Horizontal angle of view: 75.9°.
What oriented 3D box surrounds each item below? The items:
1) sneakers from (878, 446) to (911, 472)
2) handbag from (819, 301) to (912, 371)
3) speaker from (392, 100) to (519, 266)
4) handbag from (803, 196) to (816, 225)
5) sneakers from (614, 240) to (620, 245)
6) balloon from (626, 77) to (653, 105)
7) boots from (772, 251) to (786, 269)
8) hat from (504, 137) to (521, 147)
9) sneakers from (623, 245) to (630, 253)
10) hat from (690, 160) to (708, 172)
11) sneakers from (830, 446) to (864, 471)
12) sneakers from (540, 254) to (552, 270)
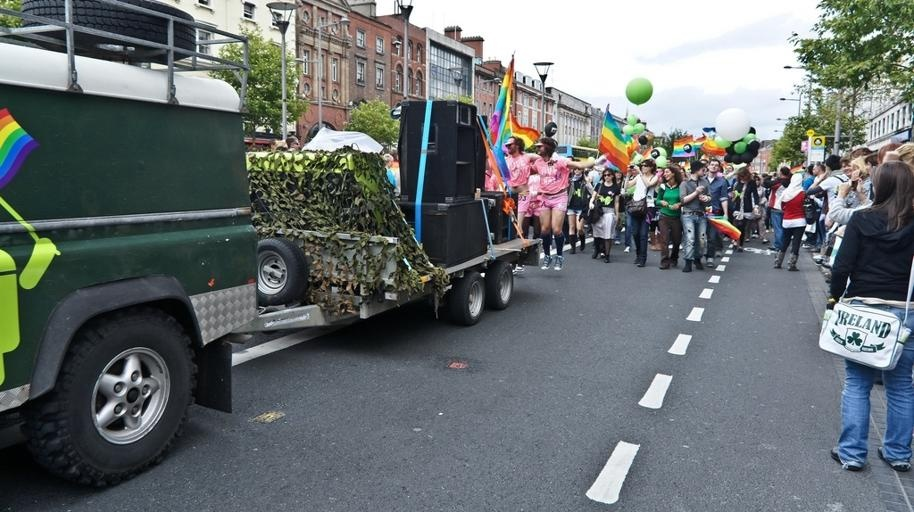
[{"bbox_3d":[4.081,1.897,5.472,0.110,0.117,0.296,-7,23,-4],"label":"sneakers"},{"bbox_3d":[3.693,0.727,5.293,0.622,0.513,0.270,11,17,34],"label":"handbag"},{"bbox_3d":[-0.137,-1.079,8.564,1.353,2.319,1.155,-2,14,-11],"label":"speaker"},{"bbox_3d":[9.401,-1.259,15.541,0.306,0.744,0.558,-6,24,29],"label":"handbag"},{"bbox_3d":[5.285,-0.454,19.180,0.134,0.169,0.408,1,0,20],"label":"sneakers"},{"bbox_3d":[5.600,-5.044,17.830,0.683,0.736,0.494,14,19,42],"label":"balloon"},{"bbox_3d":[8.194,0.101,14.811,0.297,0.436,0.238,12,-23,-1],"label":"boots"},{"bbox_3d":[1.150,-2.329,11.725,0.161,0.204,0.198,5,35,18],"label":"hat"},{"bbox_3d":[4.928,-0.184,16.787,0.123,0.144,0.368,1,5,19],"label":"sneakers"},{"bbox_3d":[5.828,-2.156,13.994,0.415,0.130,0.298,-23,22,-31],"label":"hat"},{"bbox_3d":[3.636,1.889,5.448,0.103,0.106,0.263,-3,14,-16],"label":"sneakers"},{"bbox_3d":[2.059,0.152,13.455,0.170,0.239,0.566,0,4,17],"label":"sneakers"}]
